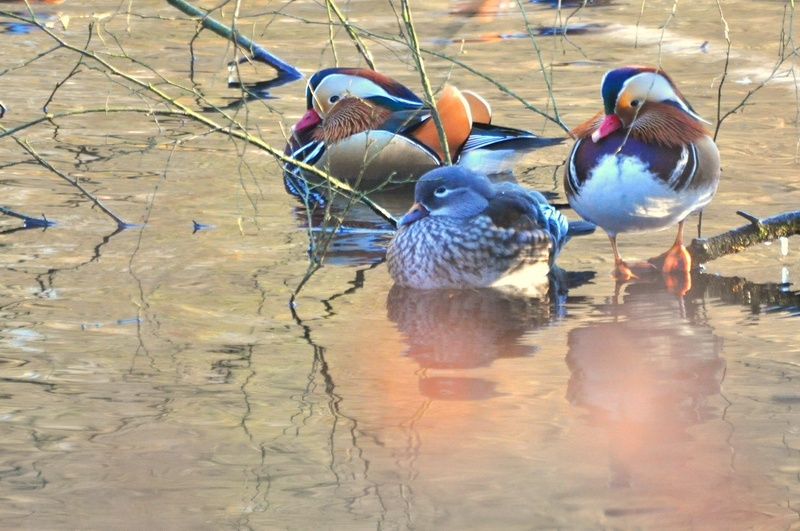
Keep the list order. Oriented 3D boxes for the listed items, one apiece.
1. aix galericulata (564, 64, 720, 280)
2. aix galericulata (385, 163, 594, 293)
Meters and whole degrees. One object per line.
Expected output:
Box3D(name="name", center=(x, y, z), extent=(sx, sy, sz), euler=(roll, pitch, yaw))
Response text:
Box3D(name="aix galericulata", center=(1.720, -0.647, 7.186), extent=(1.050, 1.525, 0.441), euler=(4, 6, 9))
Box3D(name="aix galericulata", center=(0.556, -0.265, 7.485), extent=(1.216, 0.952, 0.513), euler=(3, 5, 8))
